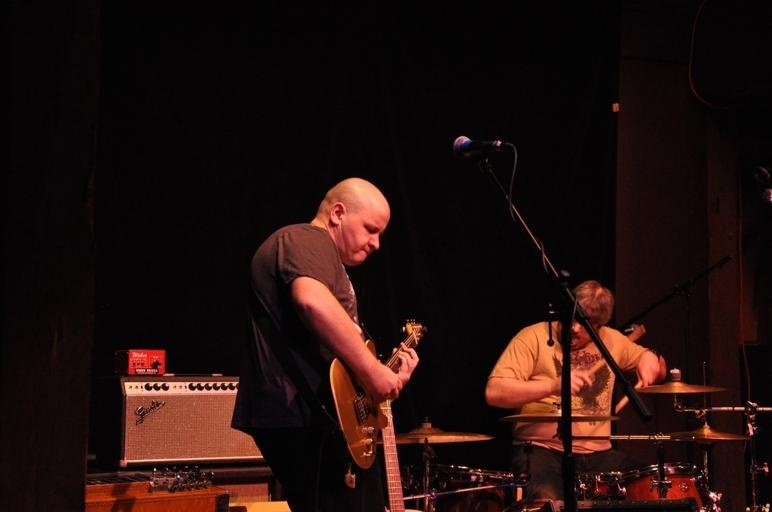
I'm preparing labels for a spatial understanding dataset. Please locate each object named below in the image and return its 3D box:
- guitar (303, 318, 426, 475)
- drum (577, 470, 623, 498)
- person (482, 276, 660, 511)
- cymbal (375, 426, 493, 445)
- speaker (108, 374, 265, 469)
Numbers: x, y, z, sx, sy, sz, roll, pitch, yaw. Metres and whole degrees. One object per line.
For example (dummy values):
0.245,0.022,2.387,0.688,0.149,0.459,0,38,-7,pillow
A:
-0.119,0.746,4.119,0.158,0.447,1.102,-16,6,14,guitar
1.358,1.450,4.936,0.308,0.173,0.082,-2,-17,-12,drum
1.164,0.924,5.157,1.317,1.588,0.858,3,-8,-17,person
0.290,1.178,5.143,0.383,0.094,0.400,-5,-11,13,cymbal
-1.333,1.162,5.037,0.866,0.601,0.532,5,-17,-22,speaker
